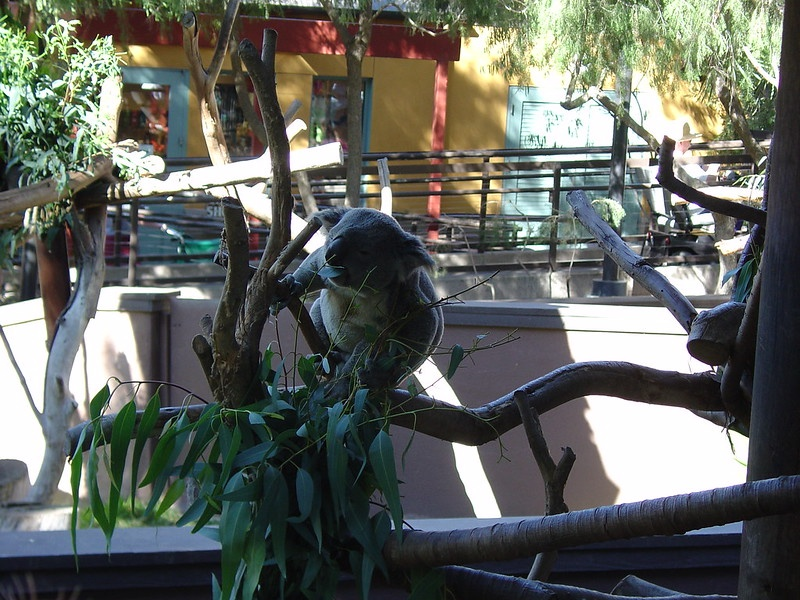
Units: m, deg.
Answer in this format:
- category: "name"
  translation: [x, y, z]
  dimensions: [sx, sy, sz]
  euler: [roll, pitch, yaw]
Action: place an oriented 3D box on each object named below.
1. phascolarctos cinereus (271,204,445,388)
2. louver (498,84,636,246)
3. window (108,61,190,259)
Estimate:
- category: "phascolarctos cinereus"
  translation: [-0.187, -0.038, 4.734]
  dimensions: [0.537, 0.819, 0.875]
  euler: [11, -2, 18]
- category: "louver"
  translation: [1.930, -1.610, 12.869]
  dimensions: [1.337, 2.022, 0.042]
  euler: [-2, 31, -6]
- category: "window"
  translation: [-2.655, -1.604, 11.541]
  dimensions: [0.790, 1.997, 1.557]
  euler: [-4, 11, -15]
